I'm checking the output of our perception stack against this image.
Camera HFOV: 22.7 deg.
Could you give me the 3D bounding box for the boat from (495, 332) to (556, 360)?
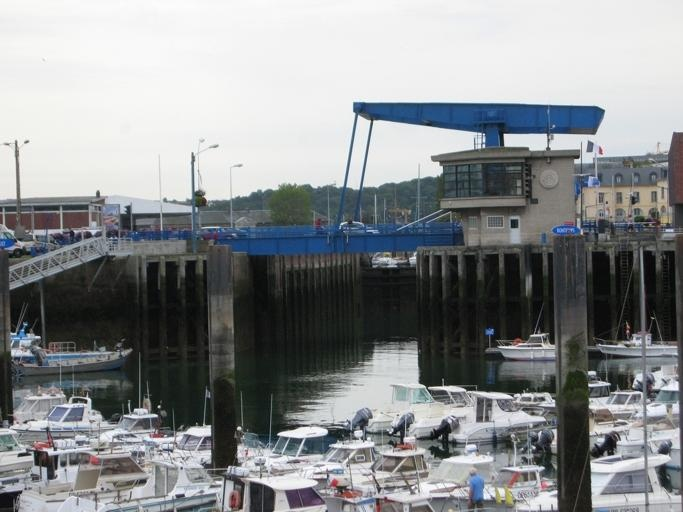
[{"bbox_3d":[10.851,5.457,98.018,3.963,1.635,1.399,-2,2,8],"label":"boat"}]
